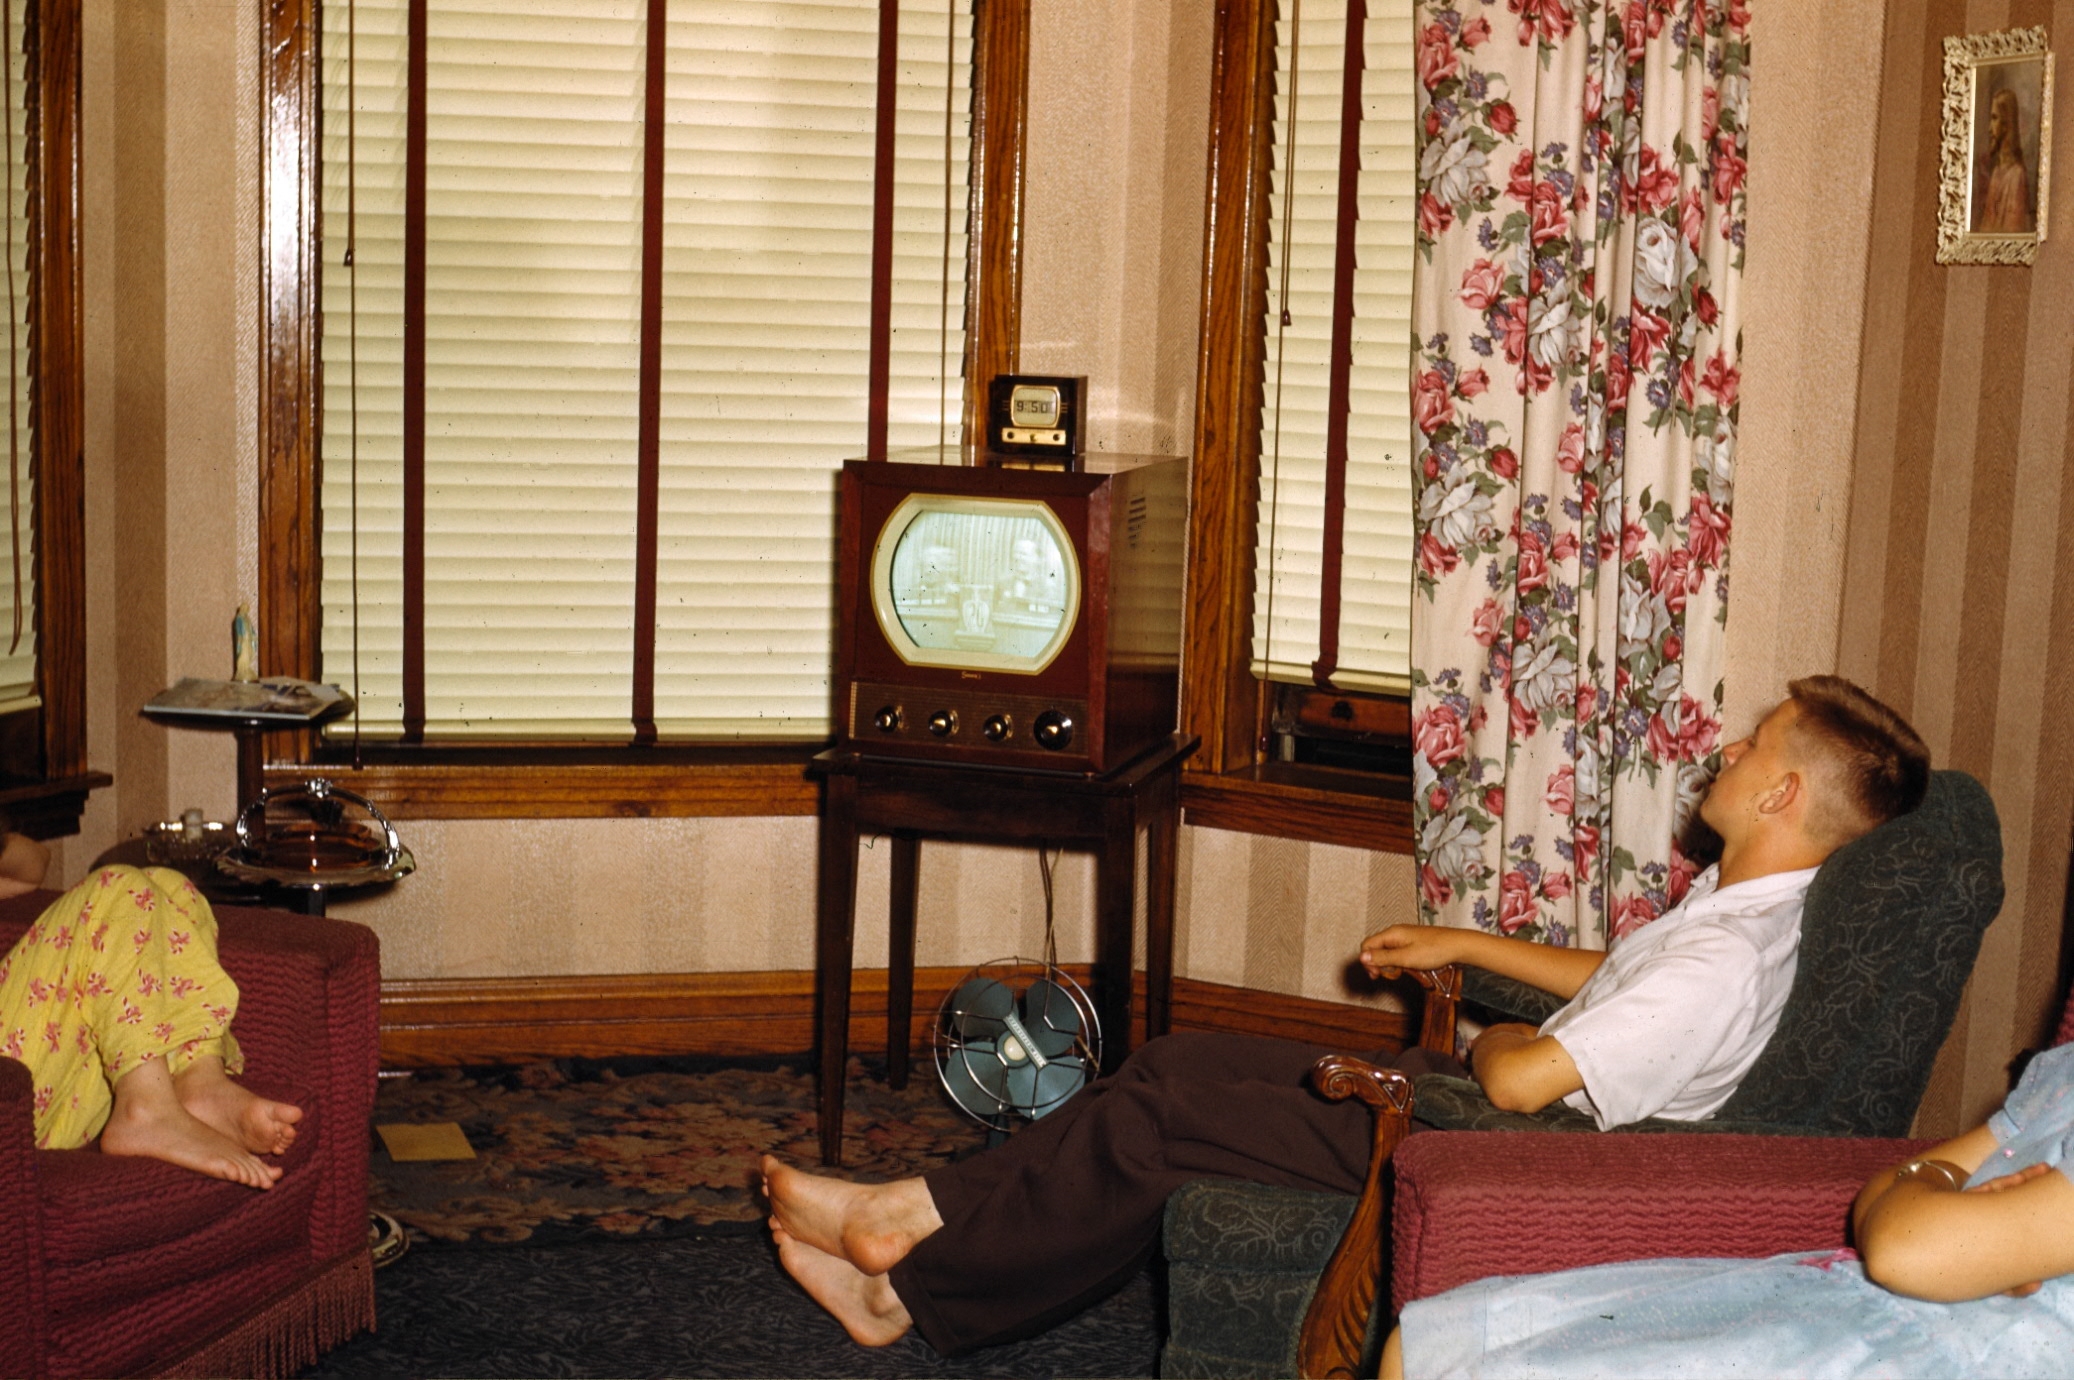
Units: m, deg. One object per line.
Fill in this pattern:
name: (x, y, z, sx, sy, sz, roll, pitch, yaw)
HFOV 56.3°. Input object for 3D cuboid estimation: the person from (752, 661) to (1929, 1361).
person: (0.419, 0.600, 3.354, 2.139, 1.144, 0.738, -4, 2, 25)

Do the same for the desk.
desk: (-0.070, 0.423, 4.181, 1.008, 1.074, 0.842, 2, 5, 11)

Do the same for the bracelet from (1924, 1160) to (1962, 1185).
bracelet: (1.197, 0.635, 2.555, 0.033, 0.010, 0.029, -7, 39, -37)

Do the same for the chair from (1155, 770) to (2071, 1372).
chair: (0.870, 0.596, 3.336, 1.329, 1.225, 0.847, 1, 3, 10)

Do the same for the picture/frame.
picture/frame: (1.730, -0.971, 3.492, 0.194, 0.420, 0.083, 4, 11, 34)

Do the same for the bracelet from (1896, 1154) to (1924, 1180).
bracelet: (1.171, 0.638, 2.596, 0.036, 0.012, 0.045, -9, 4, 19)
